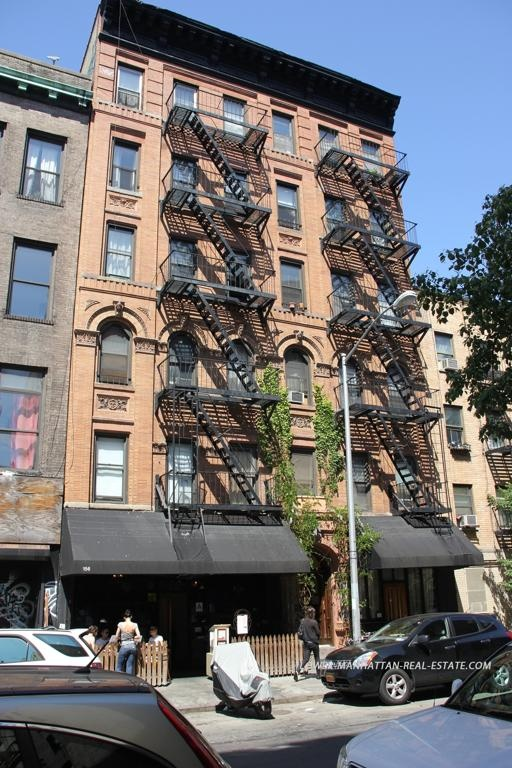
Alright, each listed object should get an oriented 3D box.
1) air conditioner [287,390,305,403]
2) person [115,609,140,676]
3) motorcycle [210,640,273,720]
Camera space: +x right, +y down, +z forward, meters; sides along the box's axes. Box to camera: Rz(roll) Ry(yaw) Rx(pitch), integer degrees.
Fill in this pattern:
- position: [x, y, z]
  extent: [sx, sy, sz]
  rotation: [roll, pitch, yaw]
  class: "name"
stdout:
- position: [1.332, 0.428, 22.079]
  extent: [0.637, 0.403, 0.345]
  rotation: [10, -17, -37]
  class: "air conditioner"
- position: [-2.773, 5.624, 14.219]
  extent: [0.473, 1.495, 0.430]
  rotation: [3, 1, -1]
  class: "person"
- position: [-0.317, 5.230, 11.638]
  extent: [1.050, 1.265, 1.308]
  rotation: [7, -25, -18]
  class: "motorcycle"
